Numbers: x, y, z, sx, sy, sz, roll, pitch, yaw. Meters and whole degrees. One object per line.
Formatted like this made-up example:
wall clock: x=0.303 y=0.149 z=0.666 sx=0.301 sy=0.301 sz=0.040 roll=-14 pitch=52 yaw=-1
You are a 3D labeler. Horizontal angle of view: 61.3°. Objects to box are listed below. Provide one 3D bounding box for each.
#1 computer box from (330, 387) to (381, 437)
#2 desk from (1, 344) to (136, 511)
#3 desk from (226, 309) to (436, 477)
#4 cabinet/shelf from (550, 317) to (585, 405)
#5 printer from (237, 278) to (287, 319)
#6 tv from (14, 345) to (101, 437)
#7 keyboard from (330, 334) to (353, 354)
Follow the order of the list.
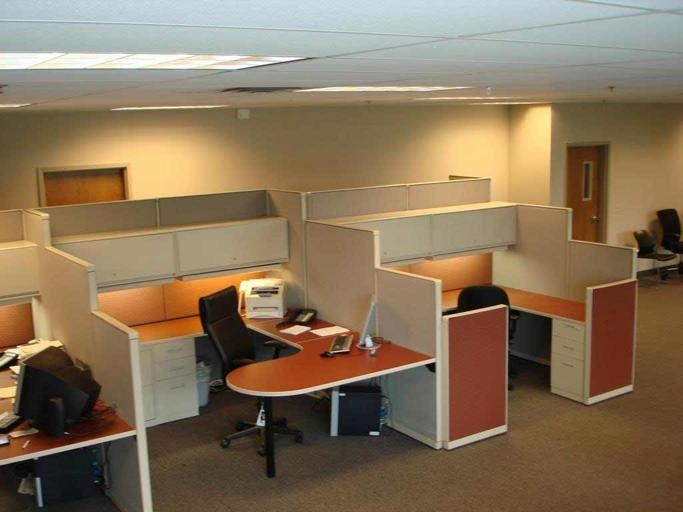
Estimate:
computer box: x=0.162 y=1.427 z=5.465 sx=0.400 sy=0.435 sz=0.496 roll=-1 pitch=5 yaw=9
desk: x=-1.846 y=1.213 z=3.954 sx=0.916 sy=1.092 sz=1.249 roll=-3 pitch=12 yaw=-28
desk: x=-0.177 y=0.923 z=4.717 sx=1.224 sy=0.404 sz=1.734 roll=-5 pitch=9 yaw=-36
cabinet/shelf: x=2.268 y=1.035 z=5.755 sx=0.110 sy=0.822 sz=0.400 roll=-11 pitch=17 yaw=-25
printer: x=-0.807 y=0.440 z=6.120 sx=0.502 sy=0.295 sz=0.440 roll=0 pitch=5 yaw=2
tv: x=-1.913 y=0.855 z=3.837 sx=0.502 sy=0.415 sz=0.632 roll=22 pitch=6 yaw=-3
keyboard: x=-0.002 y=0.775 z=5.062 sx=0.137 sy=0.050 sz=0.268 roll=8 pitch=11 yaw=3
